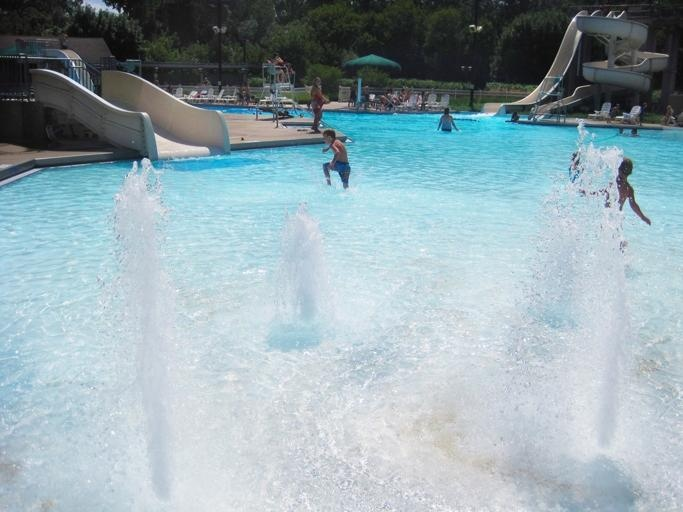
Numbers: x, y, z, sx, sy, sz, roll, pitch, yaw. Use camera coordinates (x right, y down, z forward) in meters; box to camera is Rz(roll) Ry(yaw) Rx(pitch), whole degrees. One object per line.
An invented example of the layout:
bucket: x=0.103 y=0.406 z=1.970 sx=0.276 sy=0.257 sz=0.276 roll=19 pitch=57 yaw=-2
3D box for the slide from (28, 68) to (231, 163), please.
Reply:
slide: x=-6.072 y=-3.543 z=15.541 sx=5.174 sy=2.154 sz=2.822 roll=21 pitch=26 yaw=27

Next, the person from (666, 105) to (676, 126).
person: x=17.555 y=-7.504 z=29.027 sx=0.567 sy=0.887 sz=0.837 roll=10 pitch=22 yaw=29

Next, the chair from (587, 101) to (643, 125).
chair: x=14.895 y=-7.775 z=29.506 sx=1.728 sy=0.850 sz=2.849 roll=-18 pitch=26 yaw=-41

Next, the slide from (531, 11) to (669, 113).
slide: x=15.996 y=-11.620 z=32.257 sx=5.615 sy=5.754 sz=9.388 roll=10 pitch=22 yaw=28
